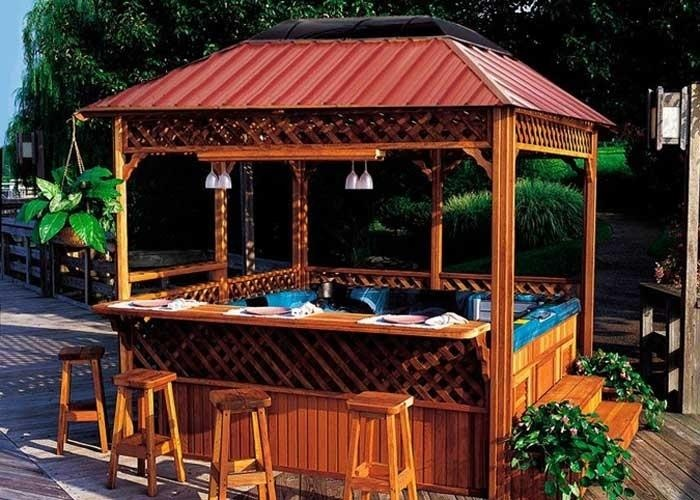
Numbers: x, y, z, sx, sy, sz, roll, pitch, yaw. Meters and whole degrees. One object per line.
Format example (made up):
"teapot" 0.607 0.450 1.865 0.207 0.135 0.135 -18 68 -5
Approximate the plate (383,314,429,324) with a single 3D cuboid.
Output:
"plate" 0.542 0.679 7.597 0.458 0.049 0.337 2 1 11

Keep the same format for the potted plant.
"potted plant" -3.564 -0.678 9.994 1.201 0.542 1.448 -12 1 8

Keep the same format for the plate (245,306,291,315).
"plate" -0.853 0.627 7.932 0.458 0.054 0.341 1 1 -8

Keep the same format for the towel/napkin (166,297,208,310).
"towel/napkin" -1.813 0.586 8.394 0.315 0.093 0.477 2 2 35

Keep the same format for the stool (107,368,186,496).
"stool" -2.145 1.791 8.041 0.880 1.132 1.169 0 1 -36

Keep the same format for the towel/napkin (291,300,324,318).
"towel/napkin" -0.470 0.605 7.938 0.280 0.124 0.439 2 1 18
